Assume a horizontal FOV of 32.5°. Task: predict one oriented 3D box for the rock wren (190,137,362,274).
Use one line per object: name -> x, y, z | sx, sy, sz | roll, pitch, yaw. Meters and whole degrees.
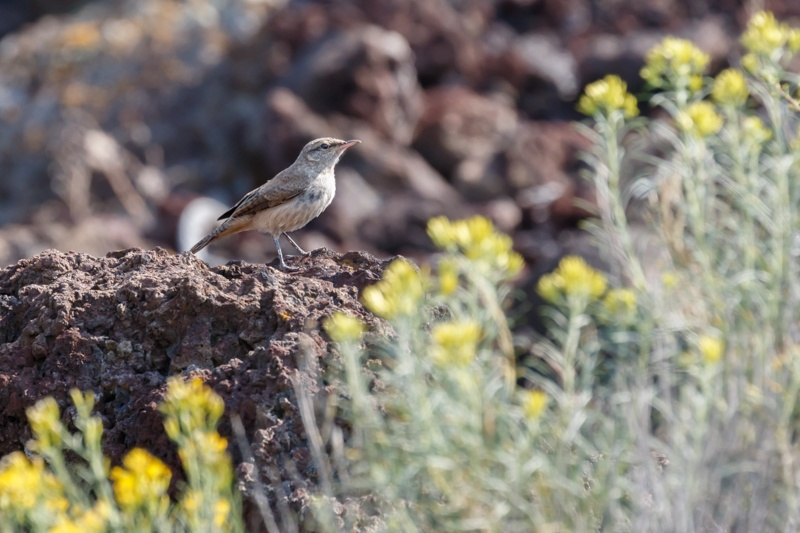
rock wren -> -0.789, -0.409, 9.531 | 1.101, 0.645, 0.440 | -25, 43, -15
